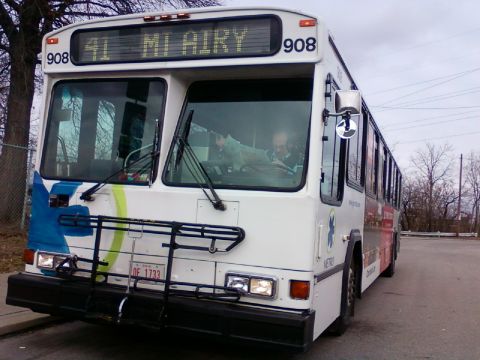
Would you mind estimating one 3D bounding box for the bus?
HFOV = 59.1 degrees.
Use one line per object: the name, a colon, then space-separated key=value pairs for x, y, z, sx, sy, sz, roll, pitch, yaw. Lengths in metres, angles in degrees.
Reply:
bus: x=-0.546 y=-0.120 z=5.178 sx=4.166 sy=3.757 sz=1.748 roll=5 pitch=-1 yaw=4
